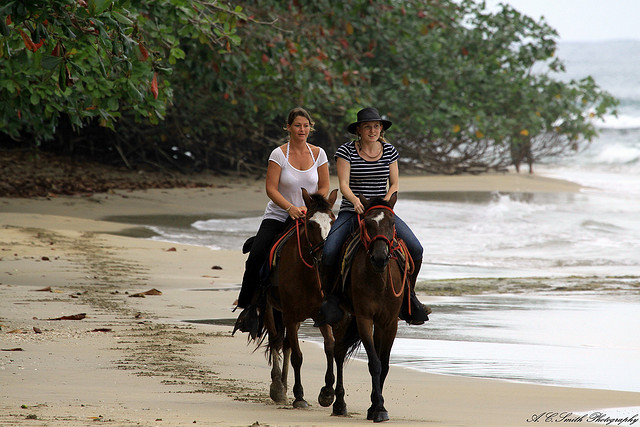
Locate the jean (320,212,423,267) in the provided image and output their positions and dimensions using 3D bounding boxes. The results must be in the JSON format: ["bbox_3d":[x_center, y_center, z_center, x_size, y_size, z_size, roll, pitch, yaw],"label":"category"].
[{"bbox_3d":[0.635,0.334,15.064,1.834,0.712,2.205,2,0,-9],"label":"jean"}]

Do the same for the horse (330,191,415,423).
[{"bbox_3d":[0.728,1.265,14.160,1.050,3.089,1.547,5,11,1],"label":"horse"}]

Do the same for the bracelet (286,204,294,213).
[{"bbox_3d":[-0.443,-0.080,14.814,0.023,0.091,0.097,39,21,4],"label":"bracelet"}]

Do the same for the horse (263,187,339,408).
[{"bbox_3d":[-0.238,1.144,14.705,1.099,3.146,1.570,4,11,-3],"label":"horse"}]
